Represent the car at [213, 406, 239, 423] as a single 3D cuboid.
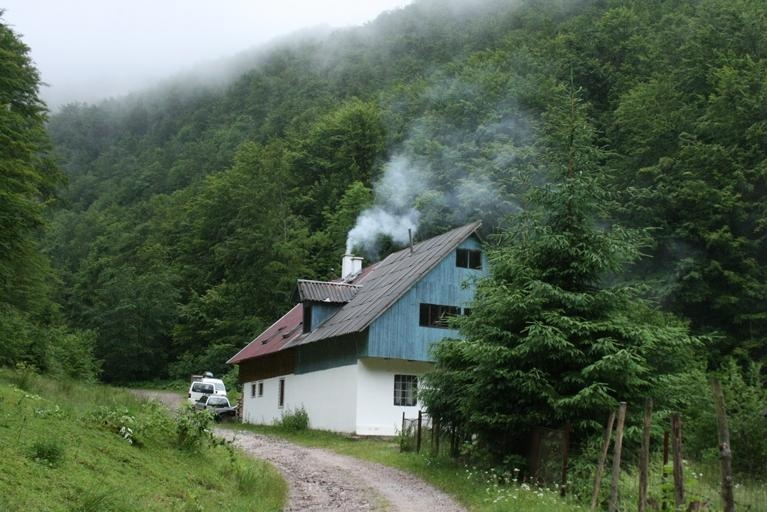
[{"bbox_3d":[-9.250,9.350,44.868,0.677,0.836,2.027,0,-4,24],"label":"car"}]
